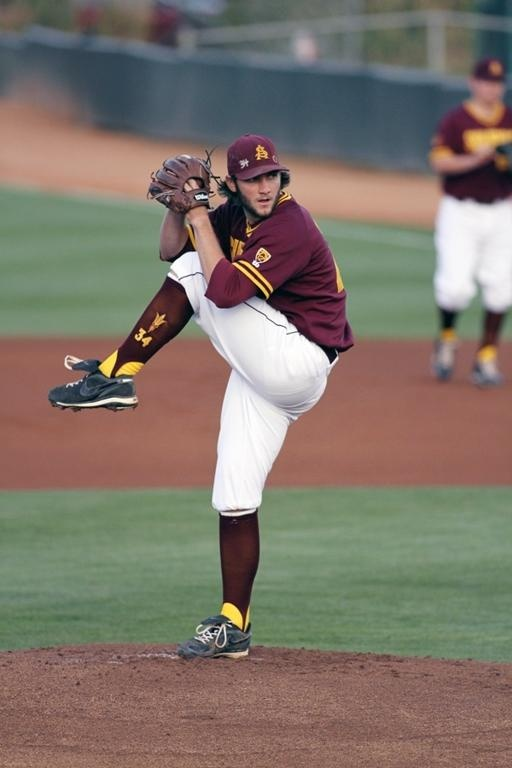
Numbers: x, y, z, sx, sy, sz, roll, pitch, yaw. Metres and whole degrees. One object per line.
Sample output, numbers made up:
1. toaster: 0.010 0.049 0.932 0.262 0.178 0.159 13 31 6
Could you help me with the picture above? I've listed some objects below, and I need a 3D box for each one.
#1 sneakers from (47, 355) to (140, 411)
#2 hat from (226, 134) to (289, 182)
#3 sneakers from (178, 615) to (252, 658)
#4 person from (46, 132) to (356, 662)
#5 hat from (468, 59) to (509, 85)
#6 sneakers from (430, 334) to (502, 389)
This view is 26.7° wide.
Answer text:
1. sneakers: -0.500 0.000 3.344 0.353 0.159 0.115 0 5 31
2. hat: 0.002 -0.652 3.054 0.169 0.106 0.219 -12 23 -12
3. sneakers: -0.107 0.730 3.118 0.245 0.094 0.094 2 2 -25
4. person: -0.121 0.035 3.141 0.745 1.503 0.441 3 7 5
5. hat: 1.243 -1.690 5.779 0.154 0.161 0.207 4 6 17
6. sneakers: 1.213 -0.110 6.254 0.198 0.210 0.553 1 -9 -5
